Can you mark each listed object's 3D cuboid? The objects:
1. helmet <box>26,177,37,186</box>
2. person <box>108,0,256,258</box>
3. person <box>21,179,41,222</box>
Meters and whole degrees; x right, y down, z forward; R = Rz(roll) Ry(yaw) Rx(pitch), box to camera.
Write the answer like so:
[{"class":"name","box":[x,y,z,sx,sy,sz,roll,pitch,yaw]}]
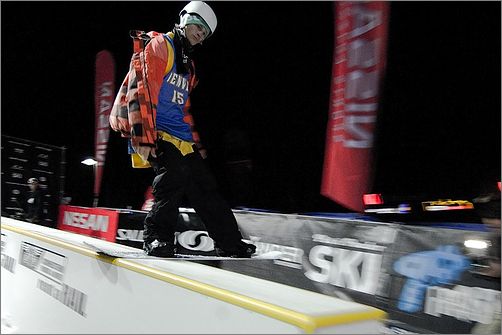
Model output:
[{"class":"helmet","box":[-5.783,0.397,7.612,0.225,0.210,0.191,3,-4,-35]},{"class":"person","box":[-0.642,-0.372,2.523,1.001,2.325,0.442,4,-6,-33]},{"class":"person","box":[-5.738,0.859,7.587,0.409,1.186,0.275,1,-5,-11]}]
